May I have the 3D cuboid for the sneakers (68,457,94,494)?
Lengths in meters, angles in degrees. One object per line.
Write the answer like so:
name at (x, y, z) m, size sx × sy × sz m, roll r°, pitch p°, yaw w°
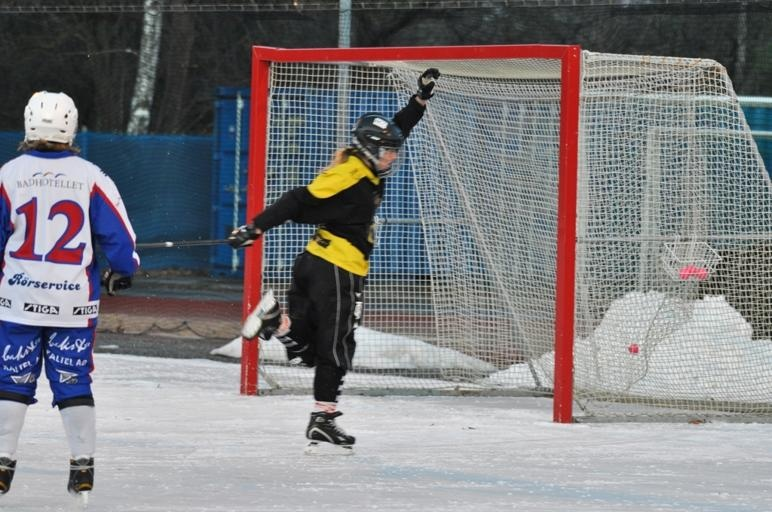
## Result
sneakers at (-1.952, 1.385, 9.210) m, size 0.153 × 0.228 × 0.145 m, roll 6°, pitch 4°, yaw -4°

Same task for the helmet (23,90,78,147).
helmet at (-2.191, -0.924, 9.511) m, size 0.367 × 0.300 × 0.389 m, roll 1°, pitch 11°, yaw -6°

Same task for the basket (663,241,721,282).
basket at (2.328, 0.031, 11.191) m, size 0.511 × 0.202 × 0.260 m, roll -1°, pitch 47°, yaw -9°

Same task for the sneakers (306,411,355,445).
sneakers at (-0.382, 1.185, 10.027) m, size 0.346 × 0.243 × 0.164 m, roll 4°, pitch 4°, yaw -6°

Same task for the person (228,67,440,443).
person at (-0.484, 0.132, 10.028) m, size 0.919 × 2.262 × 0.336 m, roll 7°, pitch 5°, yaw 0°

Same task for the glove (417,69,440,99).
glove at (0.302, -1.247, 10.540) m, size 0.203 × 0.202 × 0.087 m, roll 14°, pitch 3°, yaw 0°

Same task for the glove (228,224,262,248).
glove at (-0.997, -0.145, 10.048) m, size 0.231 × 0.166 × 0.224 m, roll 4°, pitch 4°, yaw -13°
